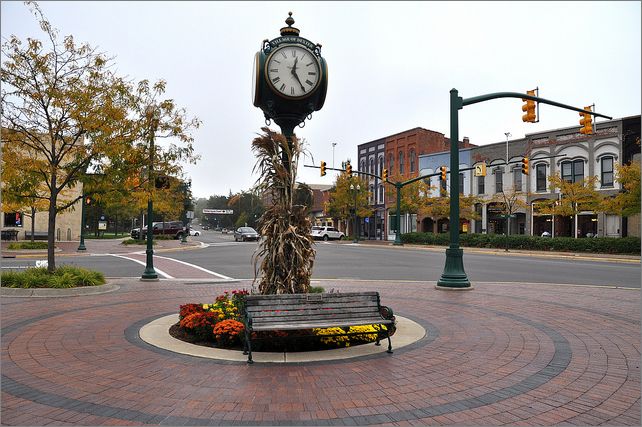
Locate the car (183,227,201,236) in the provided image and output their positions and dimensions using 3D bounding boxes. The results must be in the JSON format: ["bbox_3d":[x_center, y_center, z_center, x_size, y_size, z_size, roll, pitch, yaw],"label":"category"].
[{"bbox_3d":[-16.180,2.222,75.249,2.470,0.752,1.556,-3,3,-5],"label":"car"}]

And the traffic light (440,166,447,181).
[{"bbox_3d":[7.476,-2.466,36.603,0.336,0.753,1.185,3,12,11],"label":"traffic light"}]

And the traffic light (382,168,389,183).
[{"bbox_3d":[4.152,-2.432,38.547,0.231,0.794,0.930,3,12,14],"label":"traffic light"}]

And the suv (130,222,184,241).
[{"bbox_3d":[-12.272,1.374,45.489,2.858,1.055,1.435,4,-6,-36],"label":"suv"}]

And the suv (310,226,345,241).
[{"bbox_3d":[0.682,1.874,57.074,3.156,1.047,1.465,-3,4,-31],"label":"suv"}]

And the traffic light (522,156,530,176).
[{"bbox_3d":[11.335,-2.617,33.130,0.255,0.861,1.241,4,12,16],"label":"traffic light"}]
